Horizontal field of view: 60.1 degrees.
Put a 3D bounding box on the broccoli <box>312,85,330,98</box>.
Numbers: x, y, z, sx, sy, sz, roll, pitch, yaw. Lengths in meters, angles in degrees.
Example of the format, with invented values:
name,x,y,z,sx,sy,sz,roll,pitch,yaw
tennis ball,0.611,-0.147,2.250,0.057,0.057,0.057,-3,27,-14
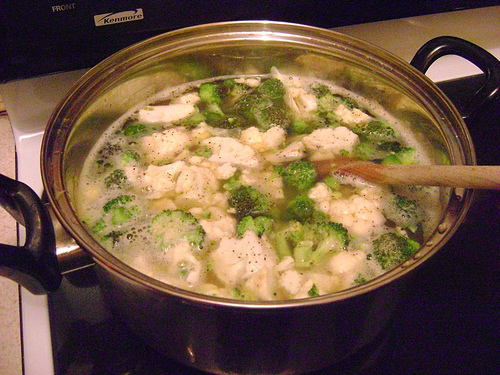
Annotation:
name,x,y,z,sx,sy,sz,roll,pitch,yaw
broccoli,0.311,-0.403,1.817,0.065,0.019,0.058,-22,62,-12

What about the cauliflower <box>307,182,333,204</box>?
name,x,y,z,sx,sy,sz,roll,pitch,yaw
cauliflower,0.252,0.017,1.540,0.074,0.028,0.067,11,78,4

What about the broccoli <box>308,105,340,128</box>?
name,x,y,z,sx,sy,sz,roll,pitch,yaw
broccoli,0.317,-0.303,1.737,0.096,0.026,0.088,-11,61,-18

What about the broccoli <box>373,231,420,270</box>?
name,x,y,z,sx,sy,sz,roll,pitch,yaw
broccoli,0.456,0.195,1.428,0.139,0.097,0.184,2,16,0

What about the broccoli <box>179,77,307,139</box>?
name,x,y,z,sx,sy,sz,roll,pitch,yaw
broccoli,-0.138,-0.330,1.809,0.523,0.371,0.128,4,85,-44

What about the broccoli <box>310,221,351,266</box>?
name,x,y,z,sx,sy,sz,roll,pitch,yaw
broccoli,0.260,0.174,1.448,0.139,0.118,0.171,-2,17,-2

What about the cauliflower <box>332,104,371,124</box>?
name,x,y,z,sx,sy,sz,roll,pitch,yaw
cauliflower,0.424,-0.290,1.748,0.109,0.025,0.075,34,69,15

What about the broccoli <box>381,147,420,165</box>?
name,x,y,z,sx,sy,sz,roll,pitch,yaw
broccoli,0.588,-0.120,1.665,0.092,0.025,0.087,29,56,22

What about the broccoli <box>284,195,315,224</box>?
name,x,y,z,sx,sy,sz,roll,pitch,yaw
broccoli,0.172,0.075,1.495,0.102,0.039,0.090,-8,62,-1

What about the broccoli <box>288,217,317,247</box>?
name,x,y,z,sx,sy,sz,roll,pitch,yaw
broccoli,0.178,0.149,1.463,0.089,0.025,0.078,-8,64,-12

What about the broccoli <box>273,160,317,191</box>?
name,x,y,z,sx,sy,sz,roll,pitch,yaw
broccoli,0.178,-0.048,1.629,0.139,0.091,0.200,-3,11,-4

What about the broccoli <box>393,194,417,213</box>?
name,x,y,z,sx,sy,sz,roll,pitch,yaw
broccoli,0.547,0.055,1.510,0.061,0.020,0.056,-7,46,-16

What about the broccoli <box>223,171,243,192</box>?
name,x,y,z,sx,sy,sz,roll,pitch,yaw
broccoli,-0.062,-0.026,1.554,0.061,0.017,0.061,-37,66,-12

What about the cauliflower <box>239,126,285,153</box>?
name,x,y,z,sx,sy,sz,roll,pitch,yaw
cauliflower,0.048,-0.191,1.664,0.157,0.044,0.115,-18,71,5

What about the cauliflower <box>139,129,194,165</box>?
name,x,y,z,sx,sy,sz,roll,pitch,yaw
cauliflower,-0.316,-0.176,1.657,0.232,0.123,0.222,-9,14,-29

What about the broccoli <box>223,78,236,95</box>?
name,x,y,z,sx,sy,sz,roll,pitch,yaw
broccoli,-0.093,-0.442,1.841,0.047,0.018,0.072,0,66,3

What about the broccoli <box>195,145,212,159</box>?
name,x,y,z,sx,sy,sz,roll,pitch,yaw
broccoli,-0.168,-0.140,1.637,0.049,0.013,0.044,-4,70,-10

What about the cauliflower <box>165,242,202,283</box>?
name,x,y,z,sx,sy,sz,roll,pitch,yaw
cauliflower,-0.198,0.231,1.371,0.112,0.094,0.165,-7,17,-24

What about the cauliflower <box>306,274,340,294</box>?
name,x,y,z,sx,sy,sz,roll,pitch,yaw
cauliflower,0.237,0.317,1.390,0.092,0.028,0.056,24,25,-21

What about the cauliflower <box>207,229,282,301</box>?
name,x,y,z,sx,sy,sz,roll,pitch,yaw
cauliflower,-0.012,0.260,1.368,0.188,0.051,0.254,-23,60,-16

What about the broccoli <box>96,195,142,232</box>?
name,x,y,z,sx,sy,sz,roll,pitch,yaw
broccoli,-0.447,0.084,1.472,0.091,0.024,0.141,44,75,5

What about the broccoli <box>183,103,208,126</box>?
name,x,y,z,sx,sy,sz,roll,pitch,yaw
broccoli,-0.222,-0.293,1.735,0.085,0.021,0.078,11,65,-2

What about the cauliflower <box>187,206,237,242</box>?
name,x,y,z,sx,sy,sz,roll,pitch,yaw
cauliflower,-0.119,0.105,1.479,0.132,0.036,0.122,-12,54,-28

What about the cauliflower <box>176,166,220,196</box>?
name,x,y,z,sx,sy,sz,roll,pitch,yaw
cauliflower,-0.204,-0.043,1.556,0.103,0.095,0.164,15,22,43

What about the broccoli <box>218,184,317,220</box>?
name,x,y,z,sx,sy,sz,roll,pitch,yaw
broccoli,0.058,0.046,1.526,0.398,0.055,0.140,6,46,11

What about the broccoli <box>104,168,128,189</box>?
name,x,y,z,sx,sy,sz,roll,pitch,yaw
broccoli,-0.479,-0.031,1.547,0.072,0.025,0.060,-11,71,12

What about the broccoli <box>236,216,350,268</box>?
name,x,y,z,sx,sy,sz,roll,pitch,yaw
broccoli,0.155,0.186,1.452,0.365,0.073,0.196,-2,40,11

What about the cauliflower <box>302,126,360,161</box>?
name,x,y,z,sx,sy,sz,roll,pitch,yaw
cauliflower,0.312,-0.172,1.673,0.184,0.044,0.125,-13,61,-4

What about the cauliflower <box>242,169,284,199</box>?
name,x,y,z,sx,sy,sz,roll,pitch,yaw
cauliflower,0.055,-0.016,1.573,0.123,0.031,0.117,21,42,3

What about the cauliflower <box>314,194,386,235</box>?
name,x,y,z,sx,sy,sz,roll,pitch,yaw
cauliflower,0.348,0.082,1.492,0.162,0.041,0.159,-31,53,-22
